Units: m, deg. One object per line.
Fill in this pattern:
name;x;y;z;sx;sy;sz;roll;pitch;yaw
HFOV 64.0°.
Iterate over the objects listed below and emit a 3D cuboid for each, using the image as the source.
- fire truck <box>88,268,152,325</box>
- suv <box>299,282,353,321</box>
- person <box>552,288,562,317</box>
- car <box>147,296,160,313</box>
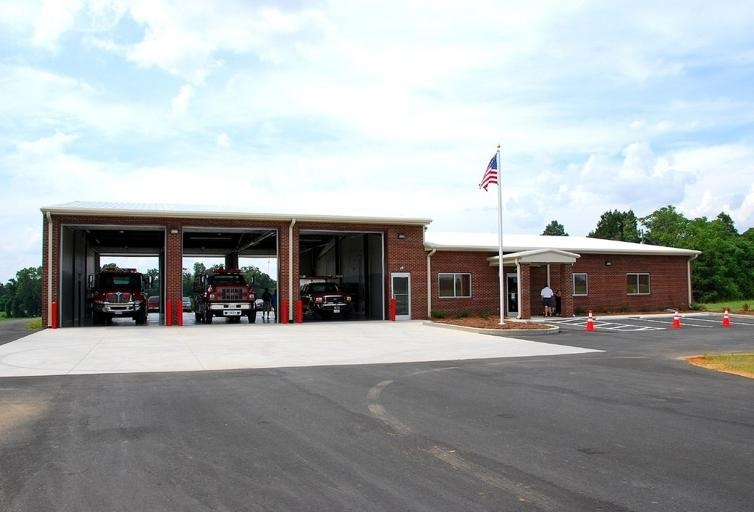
fire truck;-13.293;2.118;31.124;2.788;2.358;4.976;1;-9;-14
suv;-3.077;2.535;34.500;1.814;2.204;3.308;0;-5;-34
person;10.089;2.580;33.682;0.370;1.425;1.288;-4;-4;15
car;-18.175;3.997;49.083;1.339;0.966;3.047;0;1;-23
